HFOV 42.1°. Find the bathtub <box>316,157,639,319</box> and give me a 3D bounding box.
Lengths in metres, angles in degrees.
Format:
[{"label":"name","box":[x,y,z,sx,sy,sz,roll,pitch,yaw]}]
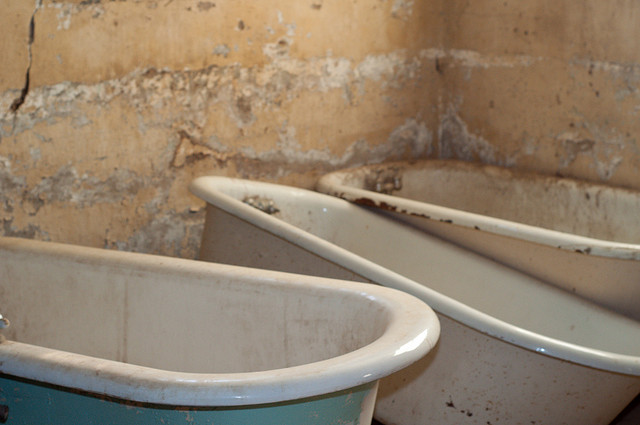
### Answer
[{"label":"bathtub","box":[0.814,0.008,3.701,0.701,0.380,1.149,-10,19,-42]}]
